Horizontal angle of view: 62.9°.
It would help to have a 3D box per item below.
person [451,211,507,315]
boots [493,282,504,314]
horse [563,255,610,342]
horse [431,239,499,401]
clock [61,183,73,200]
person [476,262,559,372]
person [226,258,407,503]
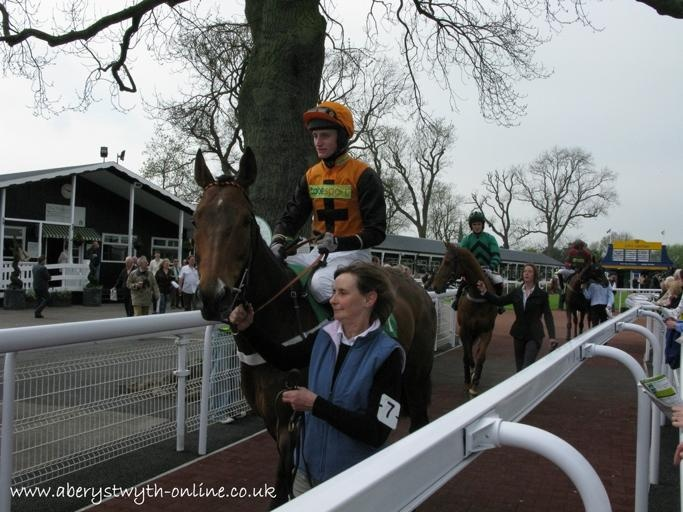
[{"bbox_3d":[2.081,0.148,8.467,0.635,1.687,0.820,-6,15,8],"label":"person"},{"bbox_3d":[2.169,0.583,7.746,0.126,0.365,0.625,-5,-29,11],"label":"boots"},{"bbox_3d":[5.576,1.038,13.130,0.631,1.896,2.423,-2,9,10],"label":"horse"},{"bbox_3d":[1.796,1.036,7.803,0.650,1.577,2.292,-2,-46,11],"label":"horse"},{"bbox_3d":[-10.100,-2.410,20.567,0.170,0.652,0.584,4,5,32],"label":"clock"},{"bbox_3d":[2.332,0.818,7.284,0.845,1.240,0.916,3,0,21],"label":"person"},{"bbox_3d":[-0.073,0.584,2.601,0.743,1.053,0.494,3,0,41],"label":"person"}]
